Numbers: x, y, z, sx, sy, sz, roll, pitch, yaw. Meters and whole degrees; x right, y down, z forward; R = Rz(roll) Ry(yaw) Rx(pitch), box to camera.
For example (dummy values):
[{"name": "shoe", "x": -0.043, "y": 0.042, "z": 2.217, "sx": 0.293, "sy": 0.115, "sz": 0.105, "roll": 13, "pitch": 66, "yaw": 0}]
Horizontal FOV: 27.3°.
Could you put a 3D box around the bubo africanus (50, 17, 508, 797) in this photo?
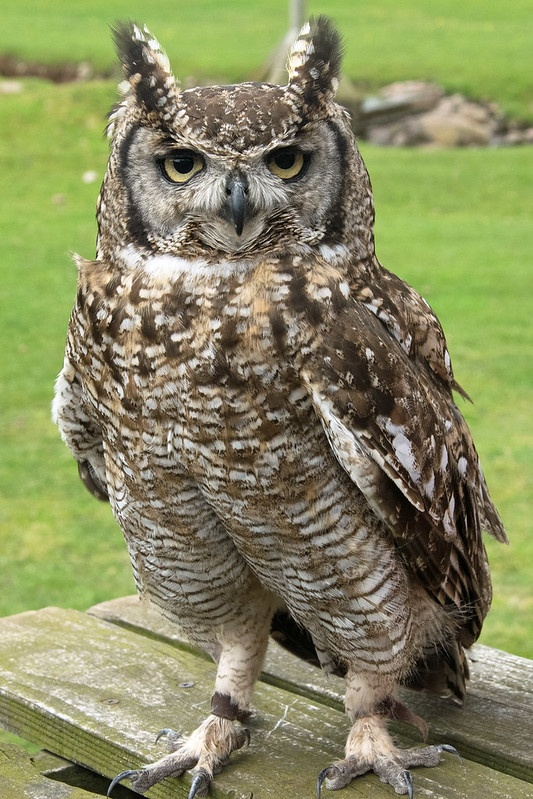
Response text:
[{"name": "bubo africanus", "x": 0.068, "y": 0.002, "z": 2.395, "sx": 1.040, "sy": 1.605, "sz": 0.630, "roll": 1, "pitch": 15, "yaw": -10}]
